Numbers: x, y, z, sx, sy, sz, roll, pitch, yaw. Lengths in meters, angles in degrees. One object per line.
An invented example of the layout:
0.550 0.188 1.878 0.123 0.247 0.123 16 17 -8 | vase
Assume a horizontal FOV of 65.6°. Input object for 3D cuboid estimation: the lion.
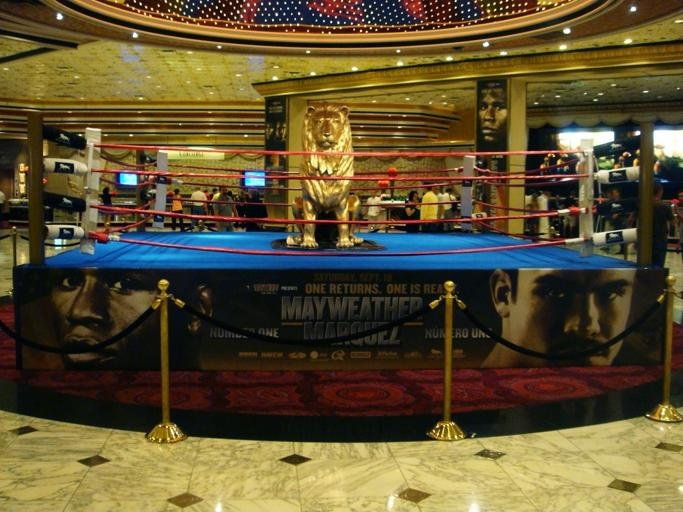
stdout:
-0.153 -0.848 5.714 1.121 1.385 1.460 0 10 -5 | lion
